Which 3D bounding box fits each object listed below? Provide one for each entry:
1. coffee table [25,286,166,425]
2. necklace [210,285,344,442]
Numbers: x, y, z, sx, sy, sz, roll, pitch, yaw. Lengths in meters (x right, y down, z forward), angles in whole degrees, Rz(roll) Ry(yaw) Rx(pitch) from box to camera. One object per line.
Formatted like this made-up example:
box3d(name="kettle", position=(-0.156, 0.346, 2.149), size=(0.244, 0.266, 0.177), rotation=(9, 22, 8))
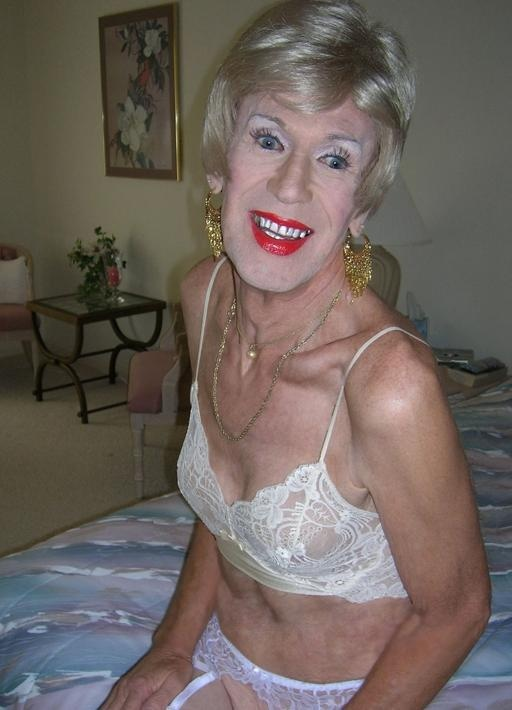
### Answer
box3d(name="coffee table", position=(-1.293, -0.179, 4.379), size=(1.034, 0.996, 1.006), rotation=(-15, 27, -37))
box3d(name="necklace", position=(0.042, 0.028, 0.977), size=(0.020, 0.274, 0.168), rotation=(15, 2, -25))
